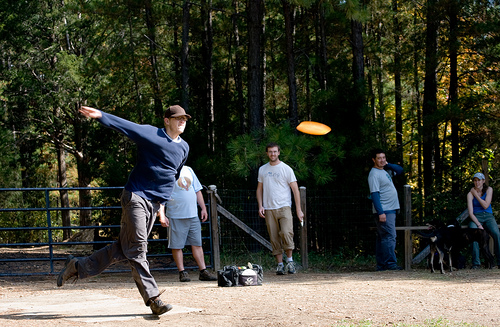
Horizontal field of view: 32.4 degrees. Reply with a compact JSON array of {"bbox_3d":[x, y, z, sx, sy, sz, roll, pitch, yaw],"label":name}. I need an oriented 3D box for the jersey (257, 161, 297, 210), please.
[{"bbox_3d":[0.862,0.762,28.923,1.435,1.660,0.813,1,4,27],"label":"jersey"}]

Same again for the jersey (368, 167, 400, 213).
[{"bbox_3d":[4.586,0.886,29.466,0.974,1.477,0.265,-1,-7,-18],"label":"jersey"}]

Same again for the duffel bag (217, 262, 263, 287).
[{"bbox_3d":[-0.264,3.610,27.454,1.502,0.700,0.945,-1,0,3],"label":"duffel bag"}]

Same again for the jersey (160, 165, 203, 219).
[{"bbox_3d":[-2.240,0.953,28.276,0.995,1.697,1.304,0,-1,1],"label":"jersey"}]

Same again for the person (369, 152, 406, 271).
[{"bbox_3d":[4.666,1.685,29.574,1.027,4.107,0.711,-3,-7,-2],"label":"person"}]

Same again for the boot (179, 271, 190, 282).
[{"bbox_3d":[-2.116,3.682,28.028,0.332,0.344,0.199,-3,-7,-4],"label":"boot"}]

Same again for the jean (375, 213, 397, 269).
[{"bbox_3d":[4.675,2.649,29.581,0.688,1.923,0.641,1,-1,-2],"label":"jean"}]

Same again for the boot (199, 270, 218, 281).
[{"bbox_3d":[-1.328,3.683,28.137,0.707,0.443,0.265,0,-2,0],"label":"boot"}]

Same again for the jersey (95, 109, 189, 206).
[{"bbox_3d":[-2.919,-0.097,25.331,2.266,2.616,0.597,-2,-7,-12],"label":"jersey"}]

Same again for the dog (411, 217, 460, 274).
[{"bbox_3d":[6.477,2.815,29.068,1.391,1.813,0.767,-3,-7,-6],"label":"dog"}]

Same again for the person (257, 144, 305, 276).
[{"bbox_3d":[0.981,1.546,28.761,1.398,4.309,0.658,-3,-7,-1],"label":"person"}]

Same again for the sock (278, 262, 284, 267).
[{"bbox_3d":[1.029,3.397,28.884,0.166,0.178,0.177,1,1,-1],"label":"sock"}]

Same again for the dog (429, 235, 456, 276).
[{"bbox_3d":[6.452,3.089,28.955,0.920,1.368,0.586,2,-9,-37],"label":"dog"}]
